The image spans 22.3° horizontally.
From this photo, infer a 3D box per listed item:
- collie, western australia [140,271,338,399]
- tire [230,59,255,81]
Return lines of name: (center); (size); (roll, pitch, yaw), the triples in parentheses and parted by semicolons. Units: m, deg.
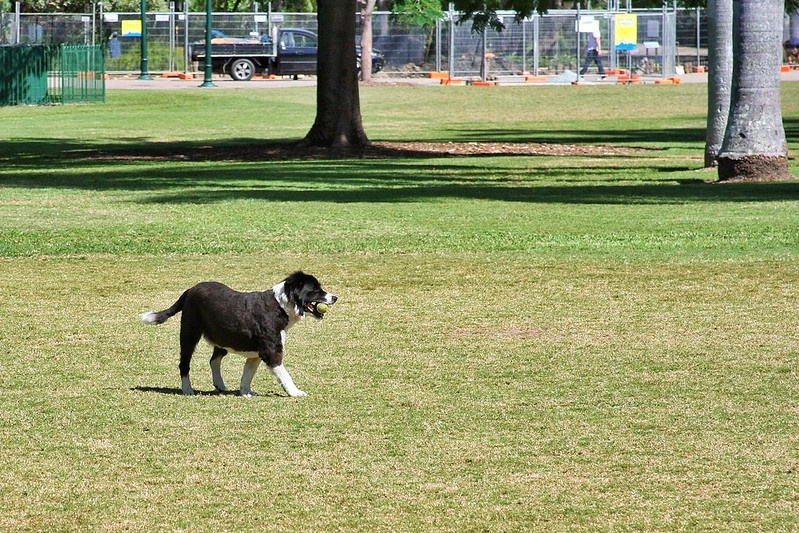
collie, western australia: (-1.895, 0.809, 23.951); (2.389, 1.535, 0.720); (1, 2, 17)
tire: (-5.254, -6.552, 68.005); (0.710, 0.720, 0.281); (5, 0, -3)
